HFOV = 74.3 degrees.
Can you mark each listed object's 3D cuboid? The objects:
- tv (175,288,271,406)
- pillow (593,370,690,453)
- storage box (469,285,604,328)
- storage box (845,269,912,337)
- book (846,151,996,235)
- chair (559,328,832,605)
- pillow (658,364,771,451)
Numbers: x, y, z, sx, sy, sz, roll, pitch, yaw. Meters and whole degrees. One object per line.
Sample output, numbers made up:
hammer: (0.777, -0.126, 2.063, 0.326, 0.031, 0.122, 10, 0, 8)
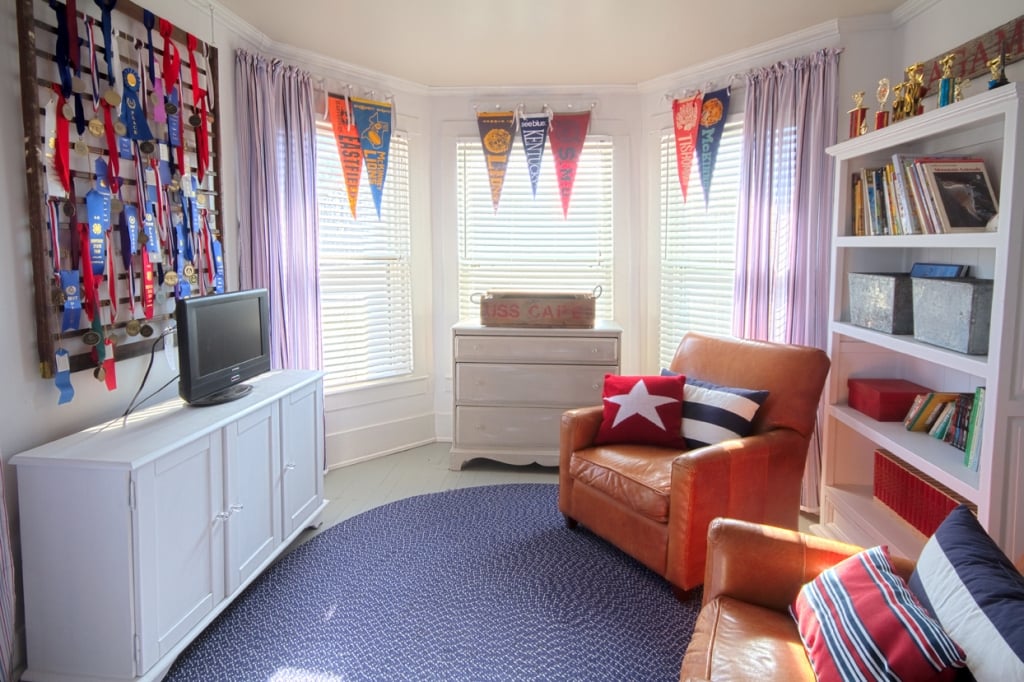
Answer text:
tv: (-1.532, 0.013, 3.490, 0.268, 0.527, 0.604, 7, 13, 16)
pillow: (0.731, 0.404, 3.801, 0.475, 0.433, 0.179, 1, -22, 17)
storage box: (0.167, -0.215, 4.618, 0.775, 0.244, 0.130, 0, 11, 7)
storage box: (1.912, -0.200, 3.517, 0.204, 0.295, 0.370, 2, 8, 1)
book: (2.062, -0.719, 3.316, 0.359, 0.384, 0.776, -2, 10, -5)
chair: (0.948, 0.588, 3.814, 1.169, 1.290, 1.363, 2, 7, -16)
pillow: (1.004, 0.450, 3.816, 0.272, 0.552, 0.775, 32, -16, -33)
